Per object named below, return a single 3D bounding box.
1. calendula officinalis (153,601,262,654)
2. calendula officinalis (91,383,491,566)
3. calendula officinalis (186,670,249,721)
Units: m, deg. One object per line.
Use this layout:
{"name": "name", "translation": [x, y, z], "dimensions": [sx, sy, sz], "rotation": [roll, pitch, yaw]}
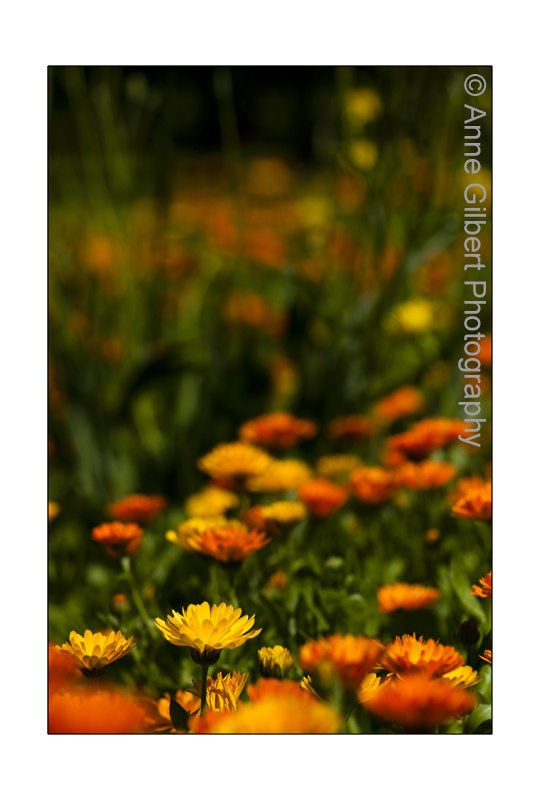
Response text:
{"name": "calendula officinalis", "translation": [-0.108, 0.356, 1.371], "dimensions": [0.145, 0.079, 0.153], "rotation": [-3, -3, 28]}
{"name": "calendula officinalis", "translation": [0.085, 0.090, 1.385], "dimensions": [0.455, 0.163, 0.294], "rotation": [-2, -7, -14]}
{"name": "calendula officinalis", "translation": [-0.064, 0.442, 1.339], "dimensions": [0.066, 0.058, 0.011], "rotation": [-5, 10, -3]}
